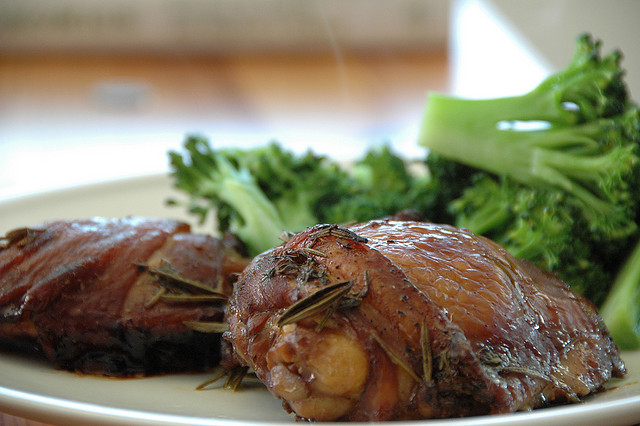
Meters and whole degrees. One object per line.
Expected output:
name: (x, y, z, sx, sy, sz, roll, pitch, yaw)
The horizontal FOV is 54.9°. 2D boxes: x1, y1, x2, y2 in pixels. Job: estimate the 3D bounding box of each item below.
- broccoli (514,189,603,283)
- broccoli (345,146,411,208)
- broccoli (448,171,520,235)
broccoli: (0.897, 0.092, 2.313, 0.305, 0.353, 0.169, -4, 16, 25)
broccoli: (0.312, -0.203, 3.236, 0.333, 0.333, 0.104, 29, -12, 16)
broccoli: (0.725, -0.044, 2.712, 0.262, 0.112, 0.274, -28, 38, 20)
